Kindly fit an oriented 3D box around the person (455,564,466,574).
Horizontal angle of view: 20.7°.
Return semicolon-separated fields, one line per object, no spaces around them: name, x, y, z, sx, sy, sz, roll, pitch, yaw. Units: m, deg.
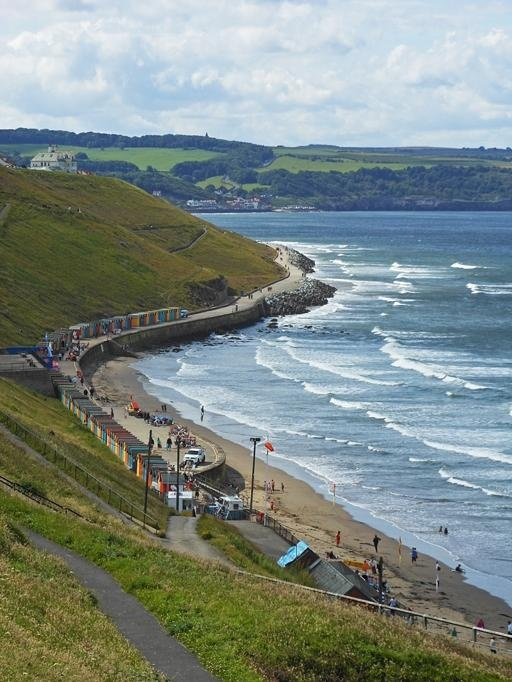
person;9.190;10.459;63.714;0.437;0.318;0.990;13;5;7

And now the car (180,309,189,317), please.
car;-6.842;-2.663;132.138;0.771;0.624;1.853;12;5;-7
